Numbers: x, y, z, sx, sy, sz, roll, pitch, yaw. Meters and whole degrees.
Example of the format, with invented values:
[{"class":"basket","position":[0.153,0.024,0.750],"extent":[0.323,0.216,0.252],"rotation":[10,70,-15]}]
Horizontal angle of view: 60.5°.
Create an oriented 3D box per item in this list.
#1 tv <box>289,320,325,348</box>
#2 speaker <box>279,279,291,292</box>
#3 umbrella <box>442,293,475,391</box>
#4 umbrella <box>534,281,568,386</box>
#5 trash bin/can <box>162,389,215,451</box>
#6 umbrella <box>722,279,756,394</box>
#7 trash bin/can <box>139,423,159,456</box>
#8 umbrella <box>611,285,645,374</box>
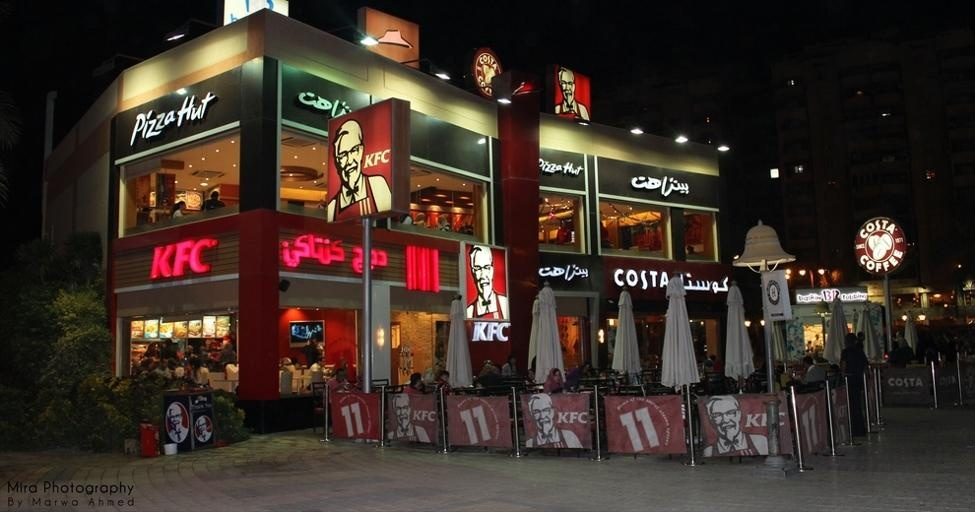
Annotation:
[{"class":"tv","position":[-9.289,3.965,42.127],"extent":[1.702,1.023,0.165],"rotation":[0,-2,-20]},{"class":"speaker","position":[-9.235,1.348,37.675],"extent":[0.351,0.597,0.368],"rotation":[36,-35,-17]},{"class":"umbrella","position":[-1.413,3.888,37.916],"extent":[1.118,4.116,0.722],"rotation":[-3,-14,-3]},{"class":"umbrella","position":[2.531,3.340,36.784],"extent":[1.124,4.489,1.262],"rotation":[-4,-14,1]},{"class":"trash bin/can","position":[-12.383,6.683,34.100],"extent":[1.424,2.354,1.764],"rotation":[-6,-5,17]},{"class":"umbrella","position":[11.047,3.508,37.097],"extent":[1.964,4.445,1.550],"rotation":[4,2,25]},{"class":"trash bin/can","position":[-13.470,7.311,33.191],"extent":[0.763,1.353,0.409],"rotation":[-2,-14,-7]},{"class":"umbrella","position":[6.390,3.602,39.381],"extent":[1.098,4.357,2.436],"rotation":[-6,-14,9]}]
